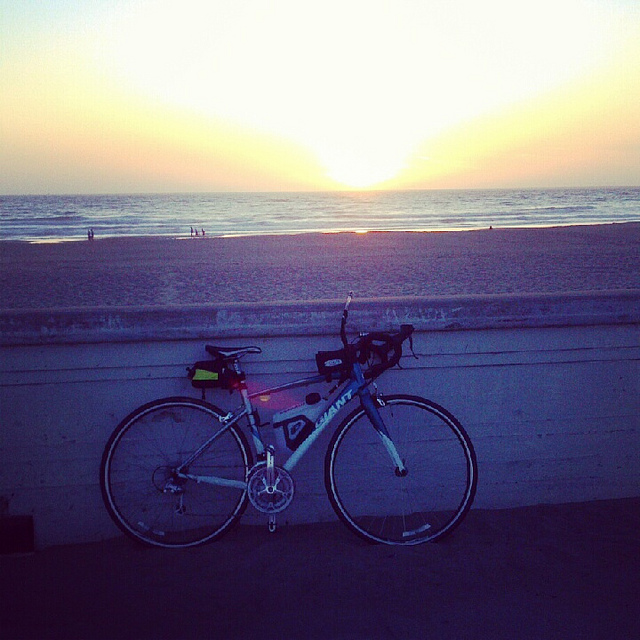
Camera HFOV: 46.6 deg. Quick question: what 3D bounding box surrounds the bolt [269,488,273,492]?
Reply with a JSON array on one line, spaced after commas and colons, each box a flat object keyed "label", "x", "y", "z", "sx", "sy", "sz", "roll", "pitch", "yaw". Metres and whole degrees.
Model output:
[{"label": "bolt", "x": -0.244, "y": 0.843, "z": 3.693, "sx": 0.015, "sy": 0.019, "sz": 0.004, "roll": -2, "pitch": 1, "yaw": -2}]

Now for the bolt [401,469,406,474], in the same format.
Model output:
[{"label": "bolt", "x": 0.425, "y": 0.764, "z": 3.749, "sx": 0.019, "sy": 0.016, "sz": 0.005, "roll": 0, "pitch": 7, "yaw": 6}]

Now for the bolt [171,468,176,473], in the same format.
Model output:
[{"label": "bolt", "x": -0.755, "y": 0.777, "z": 3.824, "sx": 0.013, "sy": 0.020, "sz": 0.026, "roll": 3, "pitch": -9, "yaw": -38}]

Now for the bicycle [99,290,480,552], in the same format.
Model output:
[{"label": "bicycle", "x": -0.175, "y": 0.494, "z": 4.488, "sx": 2.197, "sy": 1.785, "sz": 1.054, "roll": -3, "pitch": 7, "yaw": -2}]

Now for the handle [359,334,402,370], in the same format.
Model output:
[{"label": "handle", "x": 0.312, "y": 0.152, "z": 3.782, "sx": 0.190, "sy": 0.173, "sz": 0.051, "roll": -17, "pitch": 0, "yaw": 19}]
